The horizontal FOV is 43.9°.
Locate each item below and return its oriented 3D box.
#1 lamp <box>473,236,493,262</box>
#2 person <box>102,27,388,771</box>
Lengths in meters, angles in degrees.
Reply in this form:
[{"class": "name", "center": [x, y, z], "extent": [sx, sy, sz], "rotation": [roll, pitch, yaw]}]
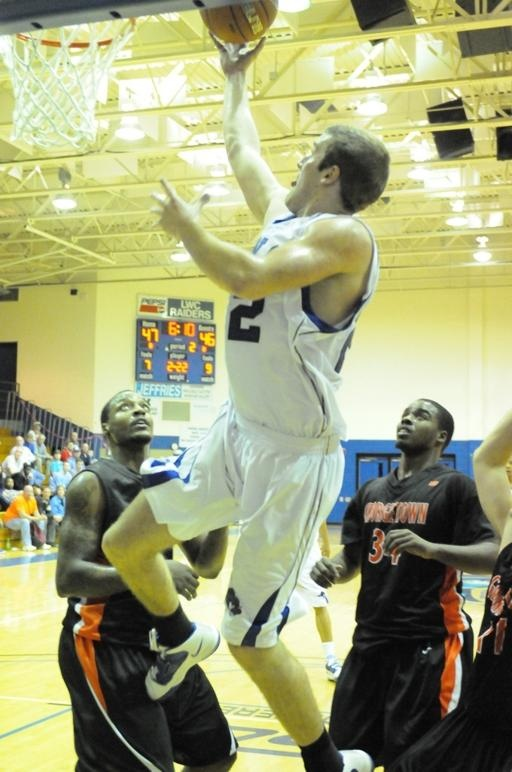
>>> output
[{"class": "lamp", "center": [6.121, -3.657, 17.217], "extent": [0.379, 0.716, 1.397], "rotation": [1, -3, 20]}, {"class": "person", "center": [-0.033, 0.256, 1.526], "extent": [0.634, 1.484, 0.488], "rotation": [2, -3, 9]}]
